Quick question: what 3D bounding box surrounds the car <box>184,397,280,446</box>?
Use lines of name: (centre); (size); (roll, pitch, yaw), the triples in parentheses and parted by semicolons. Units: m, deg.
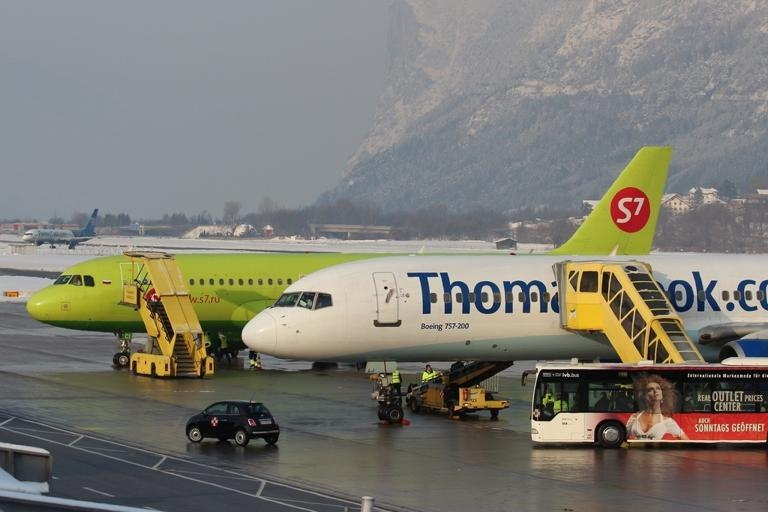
car: (-8.038, 8.882, 76.029); (4.603, 2.195, 1.171); (2, 16, 9)

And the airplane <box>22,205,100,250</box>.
airplane: (-46.604, -3.750, 206.710); (10.186, 3.498, 9.108); (-3, 5, -10)

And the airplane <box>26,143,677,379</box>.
airplane: (-1.152, 0.001, 96.442); (43.479, 12.137, 32.523); (0, 27, -19)

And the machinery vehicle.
machinery vehicle: (4.274, 7.541, 81.937); (5.327, 3.240, 2.257); (4, 16, 13)
